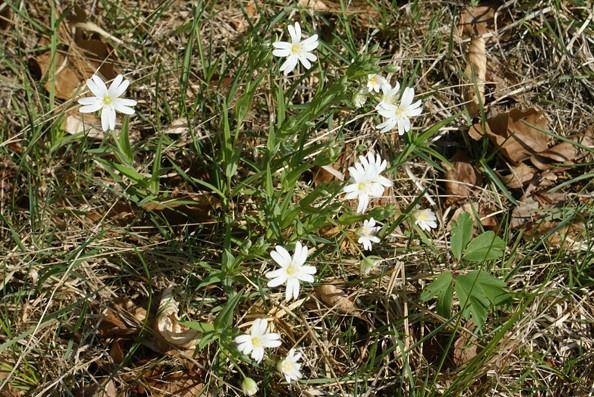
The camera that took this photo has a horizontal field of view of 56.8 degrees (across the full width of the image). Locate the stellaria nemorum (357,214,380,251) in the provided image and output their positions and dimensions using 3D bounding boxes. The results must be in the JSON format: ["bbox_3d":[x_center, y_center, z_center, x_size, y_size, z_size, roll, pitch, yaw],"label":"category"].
[{"bbox_3d":[0.391,0.190,3.122,0.153,0.055,0.185,0,102,-41],"label":"stellaria nemorum"}]

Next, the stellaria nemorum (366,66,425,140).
[{"bbox_3d":[0.570,-0.528,3.243,0.293,0.139,0.353,-7,94,-5],"label":"stellaria nemorum"}]

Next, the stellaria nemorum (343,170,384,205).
[{"bbox_3d":[0.365,-0.016,3.088,0.220,0.322,0.208,3,69,1],"label":"stellaria nemorum"}]

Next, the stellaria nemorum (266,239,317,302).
[{"bbox_3d":[-0.042,0.407,2.943,0.257,0.438,0.284,-29,72,-10],"label":"stellaria nemorum"}]
